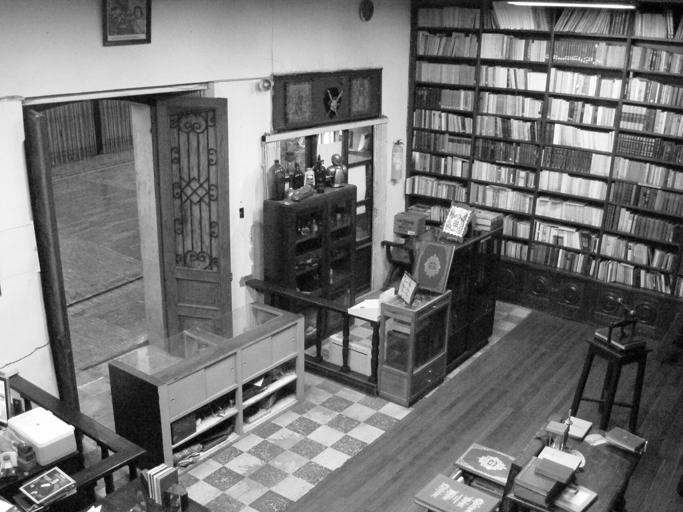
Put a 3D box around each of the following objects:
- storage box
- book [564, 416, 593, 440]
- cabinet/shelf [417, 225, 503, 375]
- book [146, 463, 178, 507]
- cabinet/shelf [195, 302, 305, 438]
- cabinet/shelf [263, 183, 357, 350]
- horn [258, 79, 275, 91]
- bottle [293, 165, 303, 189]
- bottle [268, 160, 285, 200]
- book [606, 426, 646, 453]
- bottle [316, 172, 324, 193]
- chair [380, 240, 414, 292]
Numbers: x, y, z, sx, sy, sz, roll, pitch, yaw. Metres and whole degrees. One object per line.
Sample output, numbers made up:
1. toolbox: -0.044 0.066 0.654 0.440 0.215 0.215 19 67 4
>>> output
1. storage box: -2.688 1.617 4.834 0.525 0.255 0.373 23 30 33
2. book: 2.290 1.662 5.153 0.258 0.069 0.293 11 30 26
3. cabinet/shelf: 1.634 0.614 7.535 0.590 1.533 1.571 11 28 27
4. book: -1.408 1.774 4.176 0.139 0.270 0.212 16 25 37
5. cabinet/shelf: -1.095 1.425 6.442 0.643 0.926 1.127 16 28 33
6. cabinet/shelf: -0.508 0.119 7.705 0.625 2.589 1.745 10 21 28
7. horn: -1.049 -2.366 7.349 0.041 0.179 0.169 10 15 43
8. bottle: -0.645 -1.174 7.841 0.147 0.297 0.274 2 20 6
9. bottle: -0.934 -1.088 7.584 0.242 0.530 0.208 -1 20 -3
10. book: 2.648 1.722 4.969 0.310 0.084 0.235 21 30 36
11. bottle: -0.330 -1.105 7.948 0.123 0.293 0.103 -2 20 -5
12. chair: 0.941 0.120 8.941 0.601 0.636 0.468 23 36 37
